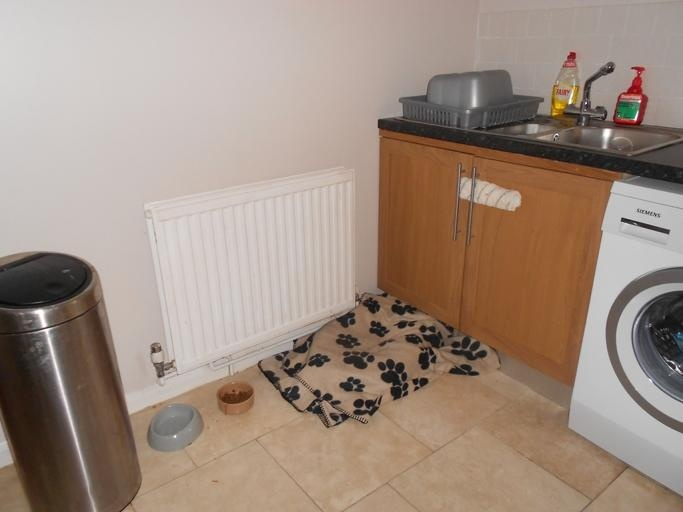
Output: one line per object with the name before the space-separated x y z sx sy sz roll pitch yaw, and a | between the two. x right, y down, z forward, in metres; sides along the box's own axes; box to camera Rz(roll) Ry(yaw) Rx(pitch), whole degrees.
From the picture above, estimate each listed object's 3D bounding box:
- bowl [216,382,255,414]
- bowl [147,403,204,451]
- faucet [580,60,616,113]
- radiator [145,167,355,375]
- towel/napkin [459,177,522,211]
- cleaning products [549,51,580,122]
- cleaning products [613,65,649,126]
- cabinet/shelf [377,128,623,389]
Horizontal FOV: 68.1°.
bowl | -0.496 0.664 2.355 0.165 0.080 0.141 -5 28 -8
bowl | -0.727 0.750 2.209 0.222 0.092 0.205 -1 28 0
faucet | 1.211 -0.805 2.389 0.112 0.231 0.220 13 31 24
radiator | -0.447 0.052 2.323 0.973 0.757 0.094 -17 32 -30
towel/napkin | 0.659 -0.278 2.256 0.217 0.072 0.136 24 37 32
cleaning products | 1.130 -0.860 2.527 0.124 0.303 0.129 11 31 22
cleaning products | 1.340 -0.733 2.318 0.122 0.252 0.090 15 33 27
cabinet/shelf | 0.872 -0.108 2.643 0.704 1.058 1.284 -17 27 -32
